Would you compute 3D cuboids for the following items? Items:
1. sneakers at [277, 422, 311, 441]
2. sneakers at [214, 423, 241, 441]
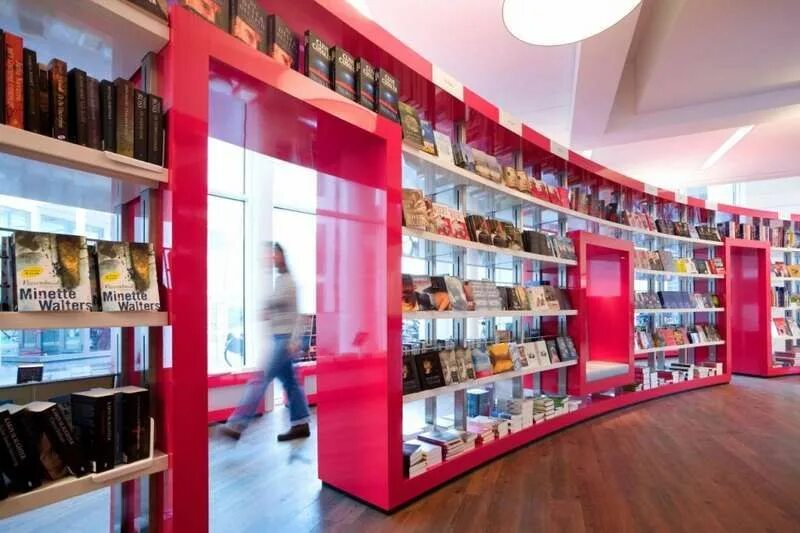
[{"bbox_3d":[-1.001,1.590,5.338,0.353,0.154,0.117,7,-12,-26],"label":"sneakers"},{"bbox_3d":[-1.575,1.542,5.104,0.285,0.159,0.065,16,33,25],"label":"sneakers"}]
